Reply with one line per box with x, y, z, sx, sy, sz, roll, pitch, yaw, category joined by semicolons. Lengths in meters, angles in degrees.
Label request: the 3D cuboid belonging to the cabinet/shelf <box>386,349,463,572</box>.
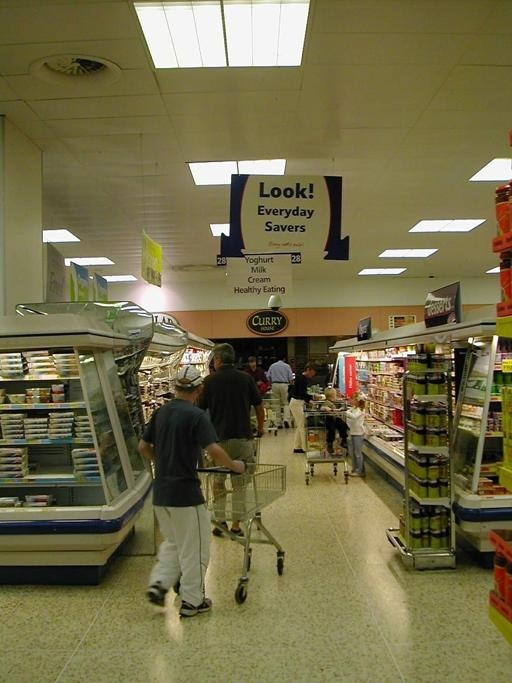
1.239;0.830;4.063;0.453;1.616;0.450;-1;-2;13;cabinet/shelf

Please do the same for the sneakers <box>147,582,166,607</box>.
-0.560;1.448;3.106;0.103;0.112;0.129;3;6;4;sneakers

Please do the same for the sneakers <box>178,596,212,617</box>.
-0.351;1.558;3.246;0.079;0.098;0.229;3;4;44;sneakers

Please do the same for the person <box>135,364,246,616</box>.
-0.396;0.885;3.205;0.630;1.471;0.363;-1;-2;4;person

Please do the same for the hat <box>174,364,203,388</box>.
-0.420;0.227;3.364;0.118;0.088;0.156;-4;32;-1;hat

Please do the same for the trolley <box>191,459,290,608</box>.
-0.157;1.204;3.795;0.568;0.919;0.964;-4;-5;26;trolley
